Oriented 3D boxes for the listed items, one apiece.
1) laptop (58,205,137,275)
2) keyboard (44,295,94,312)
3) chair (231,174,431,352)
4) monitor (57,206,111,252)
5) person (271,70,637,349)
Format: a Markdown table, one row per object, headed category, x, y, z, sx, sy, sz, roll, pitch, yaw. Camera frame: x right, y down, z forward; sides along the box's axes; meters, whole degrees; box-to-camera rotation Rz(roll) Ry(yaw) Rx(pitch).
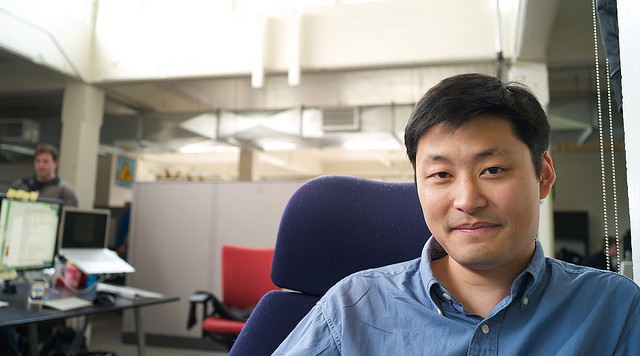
| category | x | y | z | sx | sy | sz | roll | pitch | yaw |
| --- | --- | --- | --- | --- | --- | --- | --- | --- | --- |
| laptop | -1.500 | 0.418 | 3.179 | 0.345 | 0.365 | 0.411 | 9 | -2 | 22 |
| keyboard | -1.557 | 0.768 | 2.874 | 0.187 | 0.057 | 0.198 | -3 | -6 | 29 |
| chair | 0.039 | 0.406 | 2.685 | 0.835 | 0.981 | 0.921 | 10 | -7 | 24 |
| monitor | -1.611 | 0.350 | 3.177 | 0.304 | 0.250 | 0.228 | 4 | -8 | -24 |
| person | 0.583 | 0.142 | 2.376 | 2.029 | 1.187 | 0.848 | -2 | -20 | 9 |
